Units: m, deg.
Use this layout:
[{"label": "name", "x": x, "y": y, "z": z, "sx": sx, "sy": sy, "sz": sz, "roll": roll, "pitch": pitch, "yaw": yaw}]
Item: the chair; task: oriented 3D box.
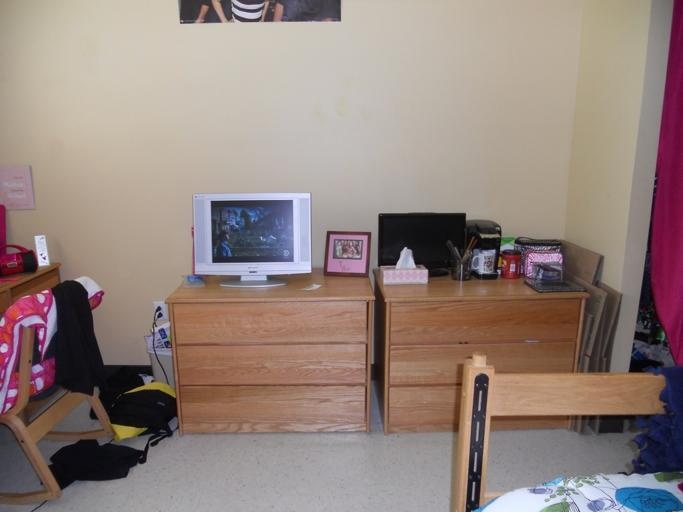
[{"label": "chair", "x": -1.615, "y": 0.729, "z": 2.930, "sx": 0.410, "sy": 1.173, "sz": 0.635, "roll": 7, "pitch": 13, "yaw": 30}]

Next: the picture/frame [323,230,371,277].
[{"label": "picture/frame", "x": 0.041, "y": -0.013, "z": 3.485, "sx": 0.306, "sy": 0.293, "sz": 0.020, "roll": 2, "pitch": 0, "yaw": 7}]

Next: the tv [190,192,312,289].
[{"label": "tv", "x": -0.569, "y": -0.111, "z": 3.314, "sx": 0.607, "sy": 0.461, "sz": 0.171, "roll": 0, "pitch": 7, "yaw": -3}]

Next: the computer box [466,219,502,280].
[{"label": "computer box", "x": 0.972, "y": -0.030, "z": 3.572, "sx": 0.233, "sy": 0.370, "sz": 0.392, "roll": -2, "pitch": 1, "yaw": 0}]

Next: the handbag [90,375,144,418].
[{"label": "handbag", "x": -1.553, "y": 0.919, "z": 3.646, "sx": 0.359, "sy": 0.149, "sz": 0.357, "roll": -10, "pitch": 30, "yaw": -4}]

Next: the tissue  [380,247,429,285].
[{"label": "tissue ", "x": 0.409, "y": 0.051, "z": 3.357, "sx": 0.304, "sy": 0.221, "sz": 0.171, "roll": 0, "pitch": 9, "yaw": -2}]

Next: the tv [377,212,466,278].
[{"label": "tv", "x": 0.548, "y": -0.066, "z": 3.478, "sx": 0.629, "sy": 0.448, "sz": 0.306, "roll": 1, "pitch": 0, "yaw": 40}]
